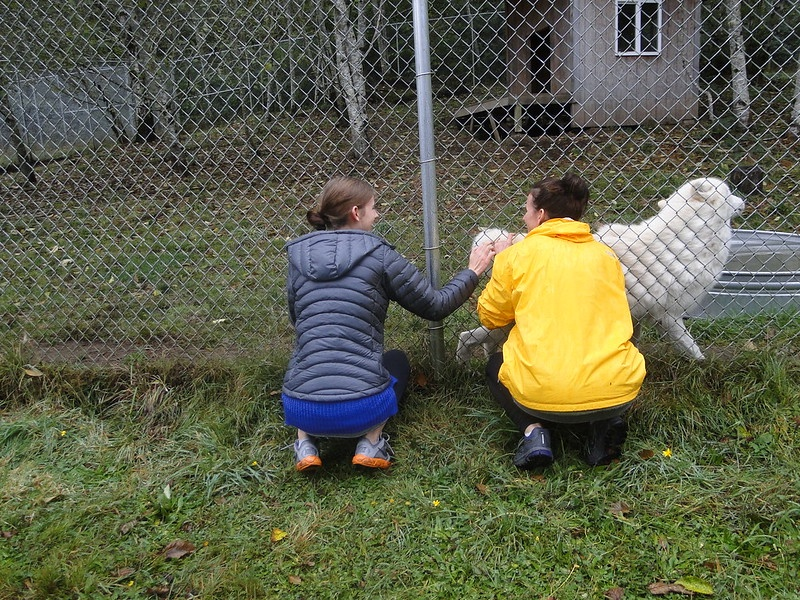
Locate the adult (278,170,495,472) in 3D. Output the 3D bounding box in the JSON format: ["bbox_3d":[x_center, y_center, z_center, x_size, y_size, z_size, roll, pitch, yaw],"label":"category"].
[{"bbox_3d":[-0.072,0.169,5.268,1.523,1.913,1.204,1,-3,3],"label":"adult"}]

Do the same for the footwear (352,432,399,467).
[{"bbox_3d":[-0.156,0.995,4.896,0.129,0.149,0.331,2,-3,24],"label":"footwear"}]

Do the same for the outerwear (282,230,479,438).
[{"bbox_3d":[-0.125,0.194,5.145,1.355,1.473,1.021,-5,1,12],"label":"outerwear"}]

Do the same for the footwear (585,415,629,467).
[{"bbox_3d":[1.280,0.907,4.739,0.154,0.411,0.190,8,36,-5],"label":"footwear"}]

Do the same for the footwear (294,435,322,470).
[{"bbox_3d":[-0.604,1.017,4.842,0.172,0.209,0.208,-4,21,-3],"label":"footwear"}]

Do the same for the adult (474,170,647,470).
[{"bbox_3d":[1.089,0.128,5.044,1.182,1.894,1.210,-3,-3,37],"label":"adult"}]

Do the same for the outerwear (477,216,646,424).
[{"bbox_3d":[0.836,0.045,4.953,0.952,1.138,1.174,-5,11,-5],"label":"outerwear"}]

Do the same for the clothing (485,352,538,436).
[{"bbox_3d":[0.700,0.609,4.904,0.150,0.317,0.484,20,29,-41],"label":"clothing"}]
